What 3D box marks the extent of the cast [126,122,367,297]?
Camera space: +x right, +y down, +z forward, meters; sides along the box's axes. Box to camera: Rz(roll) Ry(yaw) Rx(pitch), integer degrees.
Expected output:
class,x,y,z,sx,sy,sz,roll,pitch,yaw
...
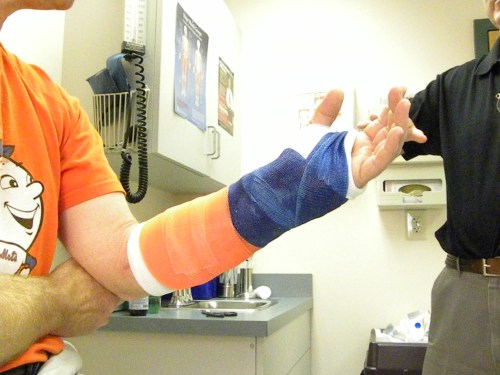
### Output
class,x,y,z,sx,sy,sz,roll,pitch,yaw
cast,-0.003,0.068,0.833,0.451,0.160,0.162,-25,-19,28
